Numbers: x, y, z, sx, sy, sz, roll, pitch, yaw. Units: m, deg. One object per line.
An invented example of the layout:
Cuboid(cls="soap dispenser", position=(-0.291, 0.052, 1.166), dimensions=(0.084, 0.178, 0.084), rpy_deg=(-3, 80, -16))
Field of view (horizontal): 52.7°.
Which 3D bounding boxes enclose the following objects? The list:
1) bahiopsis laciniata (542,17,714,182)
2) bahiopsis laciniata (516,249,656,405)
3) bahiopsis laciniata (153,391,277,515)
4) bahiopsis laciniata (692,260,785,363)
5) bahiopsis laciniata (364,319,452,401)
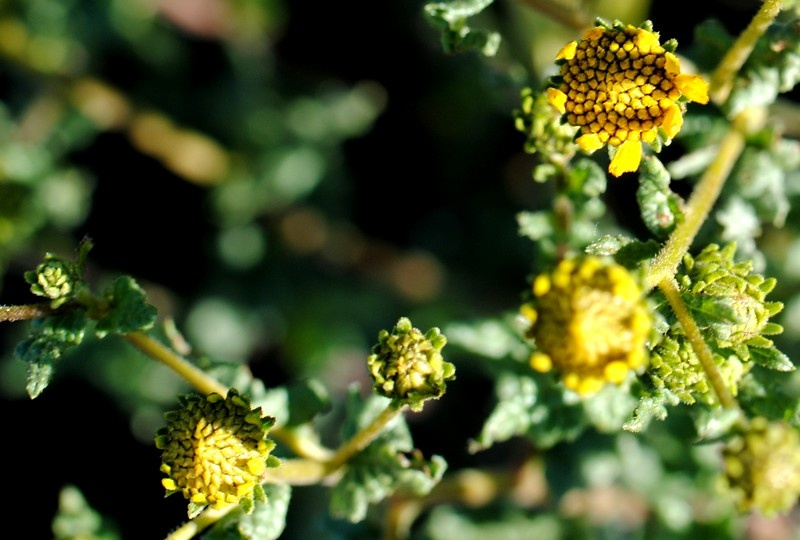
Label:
Cuboid(cls="bahiopsis laciniata", position=(0.616, -0.496, 2.275), dimensions=(0.350, 0.132, 0.387), rpy_deg=(-40, 80, -4))
Cuboid(cls="bahiopsis laciniata", position=(0.492, 0.147, 2.137), dimensions=(0.328, 0.099, 0.326), rpy_deg=(25, 82, 8))
Cuboid(cls="bahiopsis laciniata", position=(-0.506, 0.517, 2.371), dimensions=(0.332, 0.140, 0.361), rpy_deg=(-34, 86, -2))
Cuboid(cls="bahiopsis laciniata", position=(0.930, 0.092, 2.240), dimensions=(0.237, 0.117, 0.253), rpy_deg=(1, 80, 4))
Cuboid(cls="bahiopsis laciniata", position=(0.023, 0.253, 2.209), dimensions=(0.211, 0.049, 0.223), rpy_deg=(9, 80, 5))
